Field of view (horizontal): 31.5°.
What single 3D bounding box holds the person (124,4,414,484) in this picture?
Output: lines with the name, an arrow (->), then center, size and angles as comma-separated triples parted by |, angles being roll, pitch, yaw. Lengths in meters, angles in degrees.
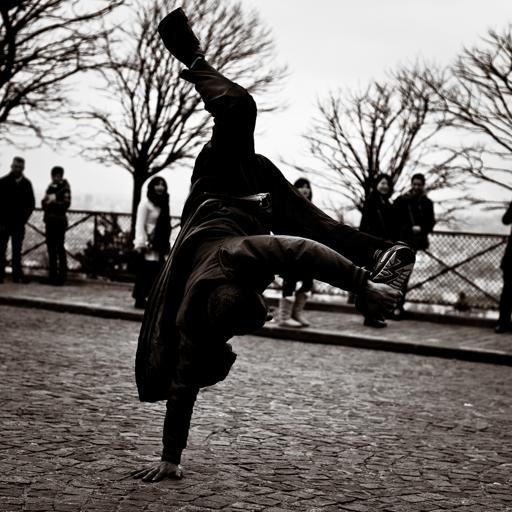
person -> 0.030, 0.015, 5.061 | 0.868, 2.726, 1.415 | 3, 7, -39

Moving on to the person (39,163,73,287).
person -> -3.164, -0.452, 14.262 | 0.515, 1.864, 0.975 | 6, 5, -11

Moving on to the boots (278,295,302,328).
boots -> 0.393, 0.721, 11.825 | 0.470, 0.438, 0.285 | 1, 5, -2
